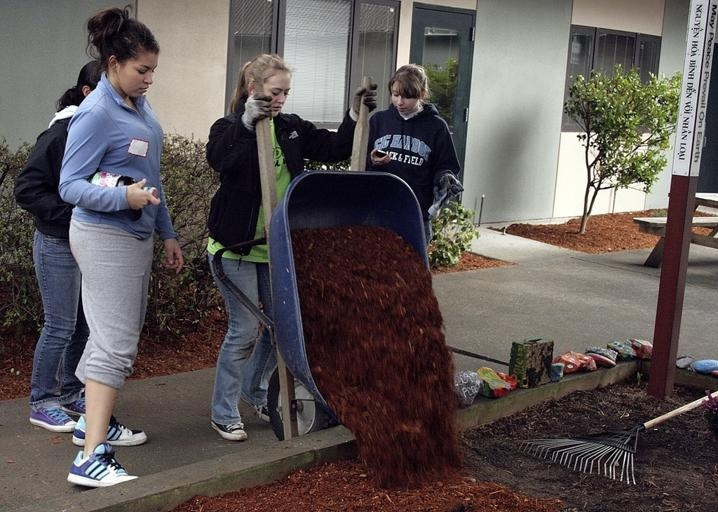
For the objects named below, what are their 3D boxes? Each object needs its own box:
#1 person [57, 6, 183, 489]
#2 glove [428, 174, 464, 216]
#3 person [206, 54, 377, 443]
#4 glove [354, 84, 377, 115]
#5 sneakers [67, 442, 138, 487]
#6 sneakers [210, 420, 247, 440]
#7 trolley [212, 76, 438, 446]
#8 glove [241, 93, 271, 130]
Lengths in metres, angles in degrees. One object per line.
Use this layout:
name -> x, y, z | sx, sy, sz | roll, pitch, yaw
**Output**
person -> -1.200, 0.001, 2.965 | 0.586, 2.471, 1.059 | -1, 13, -18
glove -> 0.642, -0.476, 4.387 | 0.232, 0.373, 0.152 | 27, -16, -38
person -> -0.629, -0.038, 3.683 | 0.602, 2.372, 0.815 | 8, 13, 21
glove -> 0.038, -0.959, 3.484 | 0.115, 0.193, 0.160 | 4, -1, -23
sneakers -> -1.240, 1.036, 2.856 | 0.372, 0.185, 0.131 | 4, -11, 8
sneakers -> -0.823, 1.090, 3.653 | 0.249, 0.104, 0.093 | 10, 7, 41
trolley -> -0.460, 0.017, 3.552 | 1.077, 2.381, 1.155 | 7, 11, 27
glove -> -0.560, -0.773, 3.115 | 0.179, 0.188, 0.094 | 13, 16, 38
